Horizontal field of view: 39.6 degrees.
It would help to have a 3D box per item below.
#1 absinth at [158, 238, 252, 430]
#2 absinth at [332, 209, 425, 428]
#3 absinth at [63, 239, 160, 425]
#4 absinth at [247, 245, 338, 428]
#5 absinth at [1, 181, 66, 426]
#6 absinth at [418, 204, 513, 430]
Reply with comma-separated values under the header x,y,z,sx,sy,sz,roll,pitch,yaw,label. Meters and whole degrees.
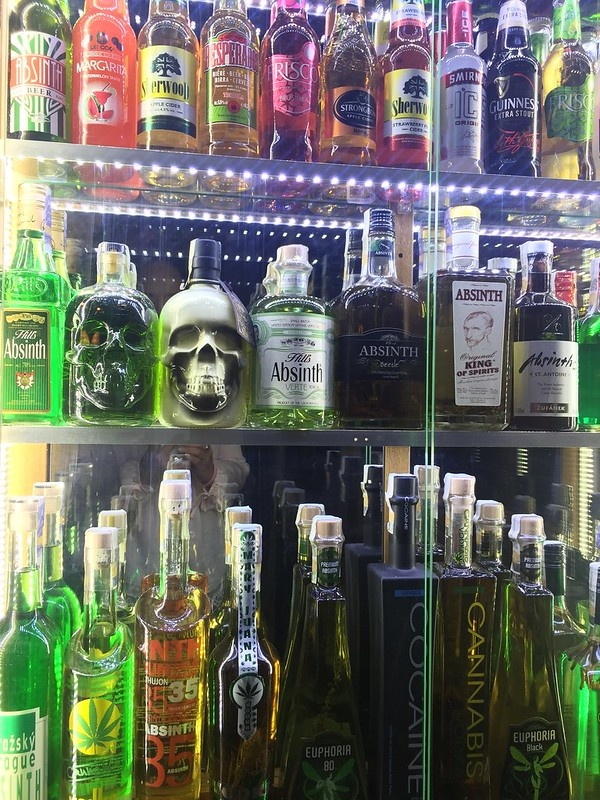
x,y,z,sx,sy,sz,roll,pitch,yaw,label
-0.130,-0.095,1.163,0.132,0.266,0.075,0,-3,-12,absinth
0.120,-0.119,1.265,0.116,0.357,0.109,3,-15,-1,absinth
-0.266,-0.098,1.169,0.128,0.266,0.129,1,-3,-27,absinth
-0.007,-0.094,1.222,0.149,0.276,0.150,1,-3,-39,absinth
-0.360,-0.131,1.140,0.080,0.326,0.085,0,-3,-14,absinth
0.250,-0.127,1.277,0.141,0.343,0.150,0,-2,19,absinth
